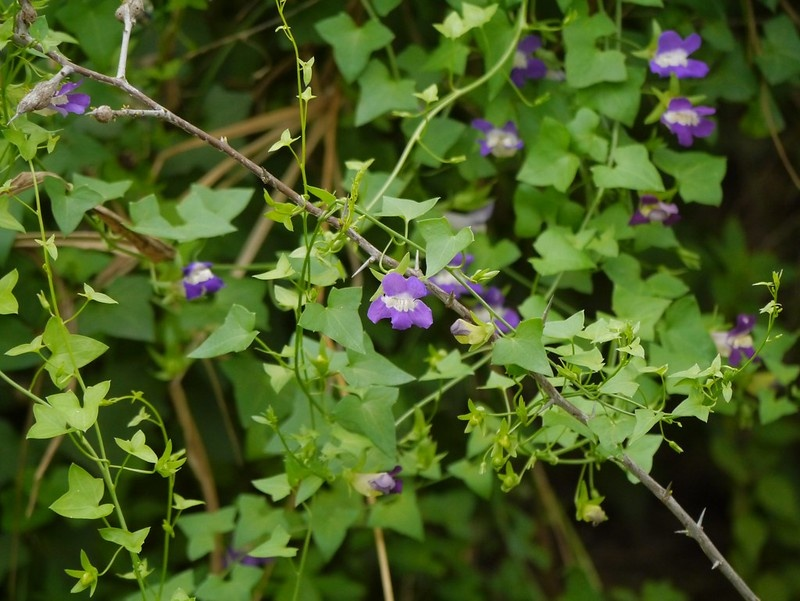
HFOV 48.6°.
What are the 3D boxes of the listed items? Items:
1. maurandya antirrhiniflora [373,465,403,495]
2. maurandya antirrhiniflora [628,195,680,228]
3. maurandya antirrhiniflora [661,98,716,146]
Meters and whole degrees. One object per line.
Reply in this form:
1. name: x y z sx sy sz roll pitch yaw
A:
1. maurandya antirrhiniflora: -0.021 0.359 1.736 0.034 0.050 0.075 -12 8 33
2. maurandya antirrhiniflora: 0.520 -0.171 1.790 0.064 0.035 0.066 2 -6 40
3. maurandya antirrhiniflora: 0.572 -0.350 1.772 0.090 0.099 0.031 25 -10 -6
